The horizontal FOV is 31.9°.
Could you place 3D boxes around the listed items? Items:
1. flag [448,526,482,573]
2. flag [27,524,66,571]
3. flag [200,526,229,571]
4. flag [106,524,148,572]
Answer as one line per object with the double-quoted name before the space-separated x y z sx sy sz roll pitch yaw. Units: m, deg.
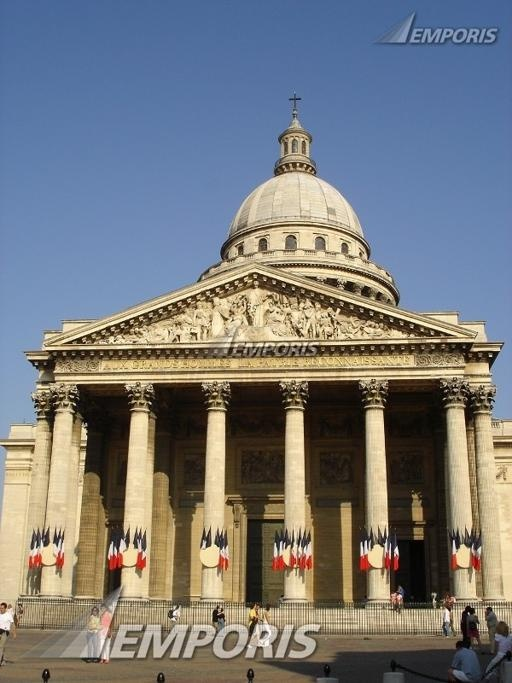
"flag" 9.708 9.641 41.483 1.311 1.772 0.723 -1 -16 -1
"flag" -10.227 10.094 43.977 2.320 2.483 0.351 -9 -18 29
"flag" -2.017 9.935 43.057 1.314 2.044 0.637 3 -17 -16
"flag" -6.220 10.094 43.490 1.713 2.144 1.207 -1 -16 -3
